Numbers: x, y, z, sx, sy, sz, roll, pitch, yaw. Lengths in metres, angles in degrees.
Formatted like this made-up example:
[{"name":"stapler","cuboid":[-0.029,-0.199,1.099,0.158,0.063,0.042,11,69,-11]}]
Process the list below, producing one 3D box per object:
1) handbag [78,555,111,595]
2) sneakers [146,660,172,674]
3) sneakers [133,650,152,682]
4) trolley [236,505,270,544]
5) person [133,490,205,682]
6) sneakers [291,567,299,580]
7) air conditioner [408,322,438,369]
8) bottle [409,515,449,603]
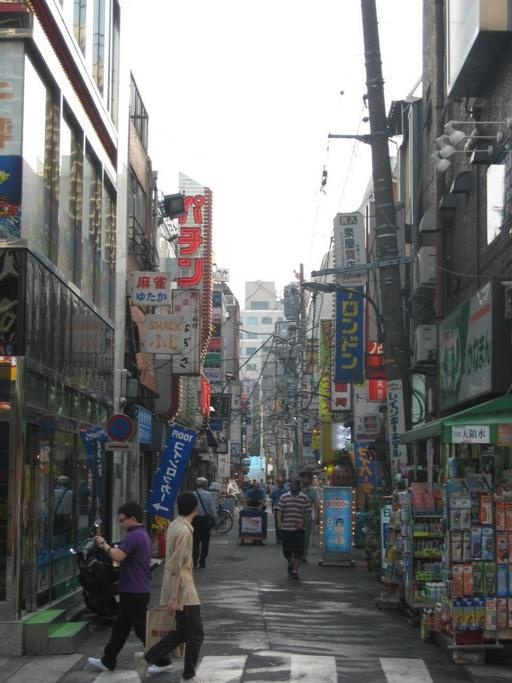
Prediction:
[{"name":"handbag","cuboid":[-1.798,2.617,12.109,0.277,0.416,0.398,3,-6,-3]},{"name":"sneakers","cuboid":[-0.859,2.882,9.661,0.284,0.149,0.111,4,-3,-21]},{"name":"sneakers","cuboid":[-0.961,2.701,9.015,0.105,0.285,0.094,-5,3,1]},{"name":"trolley","cuboid":[-0.075,4.967,29.165,0.947,1.604,0.782,0,-13,-1]},{"name":"person","cuboid":[-0.653,1.999,8.929,0.505,1.548,0.664,4,-11,-23]},{"name":"sneakers","cuboid":[0.647,3.833,17.926,0.138,0.178,0.418,3,-8,-1]},{"name":"air conditioner","cuboid":[3.036,0.078,19.588,0.514,1.185,1.004,1,-2,0]},{"name":"bottle","cuboid":[2.051,2.612,12.909,0.395,1.065,0.406,0,-10,0]}]
